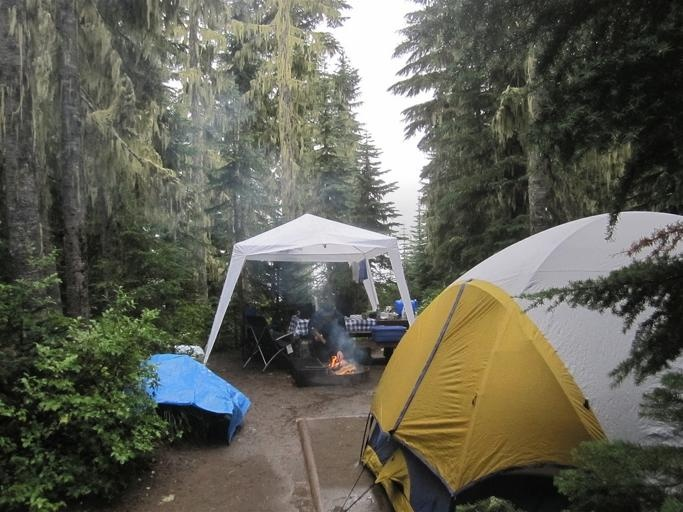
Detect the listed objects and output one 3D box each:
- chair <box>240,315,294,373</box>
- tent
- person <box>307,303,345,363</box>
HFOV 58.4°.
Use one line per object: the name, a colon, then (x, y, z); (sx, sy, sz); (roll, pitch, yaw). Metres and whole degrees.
chair: (-1.325, 1.553, 11.092); (0.625, 0.986, 0.649); (3, 2, 43)
tent: (1.607, 1.064, 5.971); (2.422, 2.898, 1.370); (-1, 8, -2)
person: (-0.225, 1.536, 11.855); (0.581, 0.871, 0.242); (-13, -29, 38)
